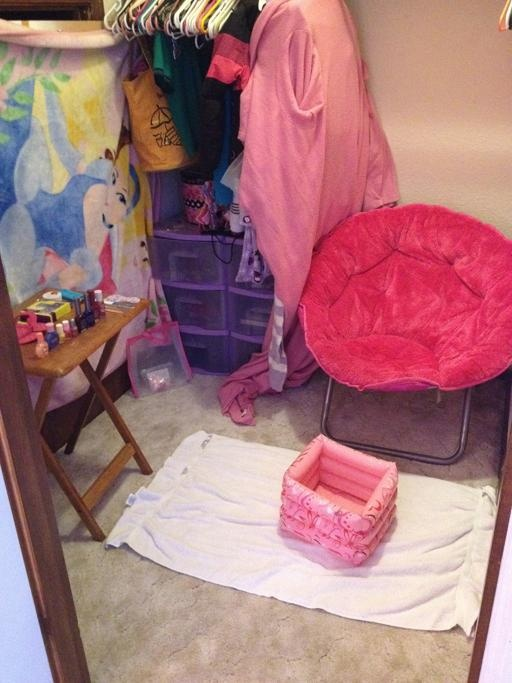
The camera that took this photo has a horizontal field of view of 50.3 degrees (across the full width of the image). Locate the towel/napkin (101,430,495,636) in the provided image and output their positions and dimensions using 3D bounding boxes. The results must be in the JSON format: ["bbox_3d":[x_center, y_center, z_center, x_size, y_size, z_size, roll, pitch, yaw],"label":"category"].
[{"bbox_3d":[0.126,0.681,1.828,0.945,0.084,0.608,9,23,17],"label":"towel/napkin"}]

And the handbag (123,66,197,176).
[{"bbox_3d":[-0.419,-0.965,2.348,0.128,0.341,0.273,2,44,32],"label":"handbag"}]

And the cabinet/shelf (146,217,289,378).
[{"bbox_3d":[-0.153,-0.290,2.964,0.629,0.670,0.670,4,33,7],"label":"cabinet/shelf"}]

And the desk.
[{"bbox_3d":[-0.591,0.258,1.856,0.398,0.688,0.557,18,45,14],"label":"desk"}]
